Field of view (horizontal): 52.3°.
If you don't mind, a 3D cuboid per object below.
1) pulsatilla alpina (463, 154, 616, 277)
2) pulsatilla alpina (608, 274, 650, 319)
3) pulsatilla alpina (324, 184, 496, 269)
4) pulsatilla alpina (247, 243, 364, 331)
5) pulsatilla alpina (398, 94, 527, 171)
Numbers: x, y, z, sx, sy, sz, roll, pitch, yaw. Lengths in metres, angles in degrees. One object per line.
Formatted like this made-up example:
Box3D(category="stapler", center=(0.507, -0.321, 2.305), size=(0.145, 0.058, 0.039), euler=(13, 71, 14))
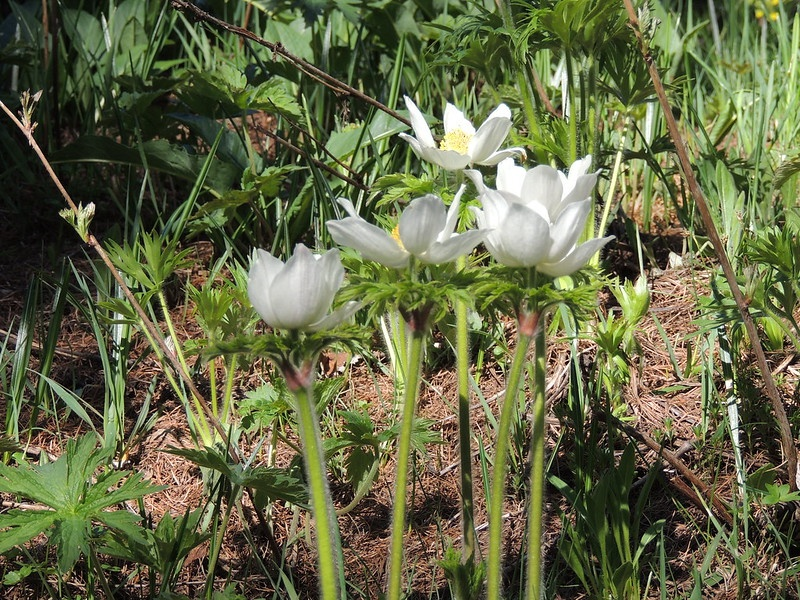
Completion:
Box3D(category="pulsatilla alpina", center=(0.314, -0.171, 1.837), size=(0.295, 0.230, 0.234), euler=(1, 3, -38))
Box3D(category="pulsatilla alpina", center=(0.749, -0.002, 2.677), size=(0.136, 0.145, 0.150), euler=(5, 1, 7))
Box3D(category="pulsatilla alpina", center=(0.005, -0.157, 1.833), size=(0.228, 0.152, 0.206), euler=(0, 20, -9))
Box3D(category="pulsatilla alpina", center=(-0.237, -0.015, 1.798), size=(0.189, 0.214, 0.207), euler=(-1, -3, -5))
Box3D(category="pulsatilla alpina", center=(0.156, -0.497, 2.126), size=(0.250, 0.174, 0.228), euler=(18, 26, 34))
